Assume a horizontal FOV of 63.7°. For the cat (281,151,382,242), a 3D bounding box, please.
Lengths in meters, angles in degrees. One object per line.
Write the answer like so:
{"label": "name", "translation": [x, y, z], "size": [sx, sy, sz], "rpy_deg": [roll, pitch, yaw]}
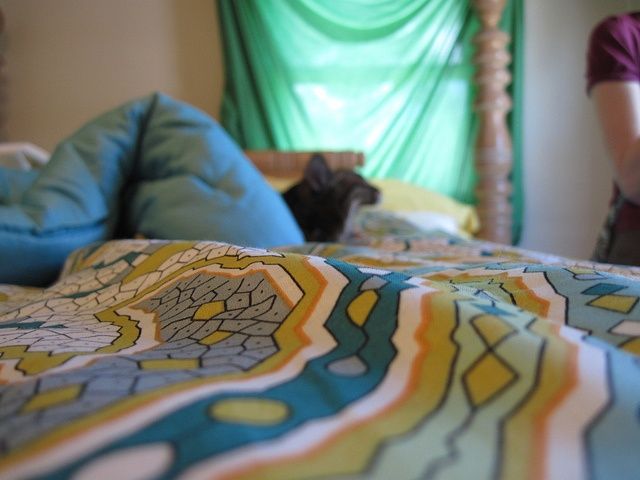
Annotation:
{"label": "cat", "translation": [0.025, -0.111, 1.290], "size": [0.227, 0.201, 0.161], "rpy_deg": [-14, 16, -36]}
